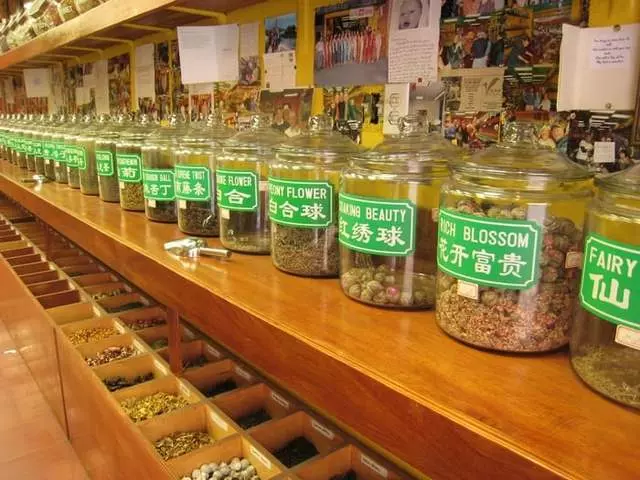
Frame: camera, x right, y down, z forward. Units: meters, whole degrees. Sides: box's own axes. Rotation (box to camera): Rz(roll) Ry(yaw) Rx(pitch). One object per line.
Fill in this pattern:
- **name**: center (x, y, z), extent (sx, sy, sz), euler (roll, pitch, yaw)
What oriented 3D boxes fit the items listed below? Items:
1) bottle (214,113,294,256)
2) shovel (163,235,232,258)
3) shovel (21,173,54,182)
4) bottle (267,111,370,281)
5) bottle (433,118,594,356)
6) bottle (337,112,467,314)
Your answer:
- **bottle**: center (-0.173, -0.166, 1.302), extent (0.249, 0.365, 0.236), euler (-1, 13, 0)
- **shovel**: center (-0.323, 0.002, 1.171), extent (0.146, 0.034, 0.072), euler (5, 8, 22)
- **shovel**: center (-1.614, -0.358, 2.564), extent (0.072, 0.036, 0.216), euler (13, 16, 30)
- **bottle**: center (0.044, -0.111, 1.109), extent (0.250, 0.368, 0.244), euler (-5, 8, 1)
- **bottle**: center (0.347, -0.023, 0.802), extent (0.251, 0.352, 0.255), euler (-1, 16, 0)
- **bottle**: center (0.155, -0.080, 0.957), extent (0.249, 0.318, 0.239), euler (1, 15, 0)
